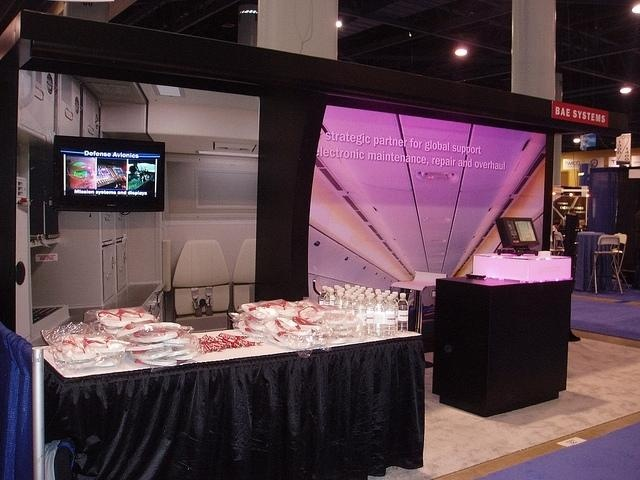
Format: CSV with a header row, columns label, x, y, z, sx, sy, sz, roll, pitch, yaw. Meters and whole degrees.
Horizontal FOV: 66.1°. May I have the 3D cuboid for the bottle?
label,x,y,z,sx,sy,sz,roll,pitch,yaw
bottle,0.408,0.454,3.470,0.363,0.186,0.493,2,2,42

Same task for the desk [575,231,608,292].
label,x,y,z,sx,sy,sz,roll,pitch,yaw
desk,6.060,0.495,11.126,0.498,1.310,0.336,2,4,29

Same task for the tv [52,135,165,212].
label,x,y,z,sx,sy,sz,roll,pitch,yaw
tv,-1.966,-0.613,4.506,0.708,0.504,0.079,-2,8,-35

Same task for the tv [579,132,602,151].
label,x,y,z,sx,sy,sz,roll,pitch,yaw
tv,9.815,-3.555,17.956,0.577,0.333,1.872,2,4,30

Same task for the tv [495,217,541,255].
label,x,y,z,sx,sy,sz,roll,pitch,yaw
tv,1.947,-0.042,4.844,0.370,0.358,0.208,-2,-1,-24
